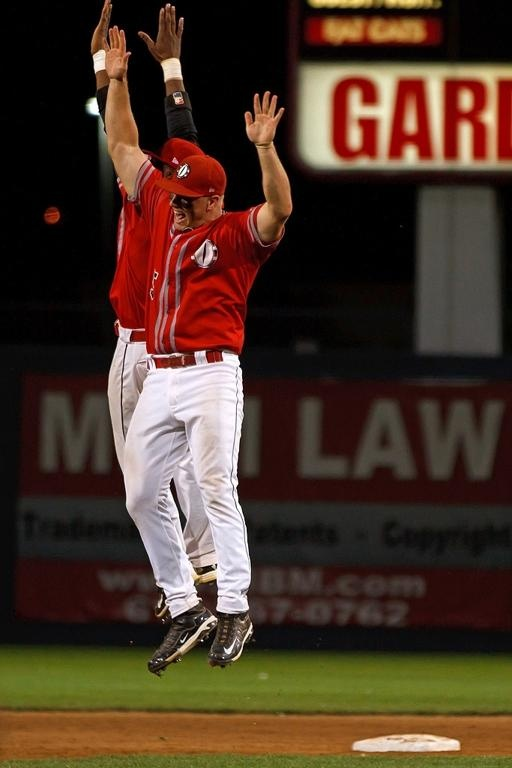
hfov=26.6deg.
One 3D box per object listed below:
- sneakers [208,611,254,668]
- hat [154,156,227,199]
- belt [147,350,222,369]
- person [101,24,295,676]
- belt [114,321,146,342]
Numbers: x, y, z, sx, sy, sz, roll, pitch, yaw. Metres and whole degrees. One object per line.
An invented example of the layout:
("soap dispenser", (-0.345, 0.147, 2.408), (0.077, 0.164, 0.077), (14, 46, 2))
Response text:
("sneakers", (-0.072, 0.767, 3.379), (0.077, 0.113, 0.243), (1, 33, 14))
("hat", (-0.194, -0.640, 3.359), (0.191, 0.109, 0.133), (8, 26, -24))
("belt", (-0.231, -0.071, 3.389), (0.261, 0.044, 0.089), (-3, -1, 37))
("person", (-0.150, 0.010, 3.396), (0.574, 1.656, 0.314), (-2, -1, 10))
("belt", (-0.435, -0.179, 3.897), (0.086, 0.033, 0.086), (10, 11, 25))
